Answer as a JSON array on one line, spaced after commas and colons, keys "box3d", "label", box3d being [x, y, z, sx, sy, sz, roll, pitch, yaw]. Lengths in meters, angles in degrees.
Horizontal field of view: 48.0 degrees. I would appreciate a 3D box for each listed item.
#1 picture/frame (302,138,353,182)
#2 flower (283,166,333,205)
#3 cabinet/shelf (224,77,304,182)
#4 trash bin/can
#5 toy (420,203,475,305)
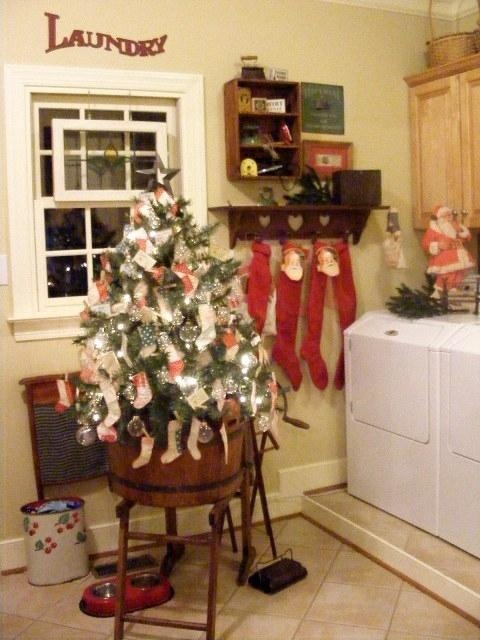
[{"box3d": [0.430, -0.798, 2.706, 0.245, 0.176, 0.026, -2, 8, -21], "label": "picture/frame"}, {"box3d": [0.358, -0.642, 2.696, 0.205, 0.203, 0.069, 8, -3, -16], "label": "flower"}, {"box3d": [0.110, -0.860, 2.466, 0.328, 0.400, 0.126, -9, 19, -24], "label": "cabinet/shelf"}, {"box3d": [-0.735, 0.897, 2.215, 0.241, 0.274, 0.244, -7, -3, 3], "label": "trash bin/can"}, {"box3d": [0.966, -0.308, 2.499, 0.208, 0.340, 0.348, -2, 1, 20], "label": "toy"}]
